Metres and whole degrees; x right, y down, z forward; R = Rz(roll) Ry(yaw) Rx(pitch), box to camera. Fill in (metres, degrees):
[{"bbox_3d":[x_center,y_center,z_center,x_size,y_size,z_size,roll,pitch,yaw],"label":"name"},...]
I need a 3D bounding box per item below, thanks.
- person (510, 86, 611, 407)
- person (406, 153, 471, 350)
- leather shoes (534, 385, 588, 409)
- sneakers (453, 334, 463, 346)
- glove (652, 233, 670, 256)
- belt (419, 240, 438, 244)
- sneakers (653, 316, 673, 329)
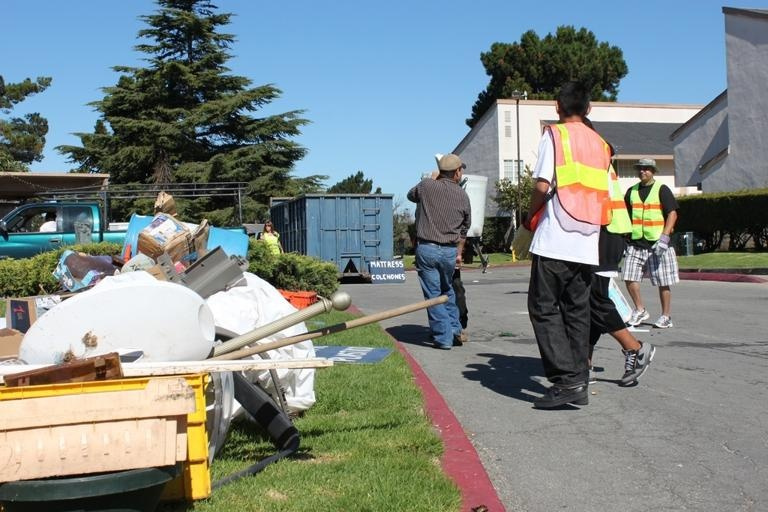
[{"bbox_3d":[1.633,0.080,6.108,0.698,2.496,0.378,-1,3,10],"label":"person"},{"bbox_3d":[0.688,-0.075,8.741,0.671,2.465,0.828,0,3,23],"label":"person"},{"bbox_3d":[1.548,1.218,6.057,0.510,0.235,0.192,-1,-2,4],"label":"leather shoes"},{"bbox_3d":[0.951,1.084,8.904,0.122,0.121,0.119,0,-2,23],"label":"sneakers"},{"bbox_3d":[4.008,-0.173,9.976,0.208,0.315,0.101,38,30,4],"label":"glove"},{"bbox_3d":[0.547,-0.176,8.656,0.203,0.050,0.046,0,2,25],"label":"belt"},{"bbox_3d":[4.102,0.967,10.099,0.405,0.174,0.144,6,-9,-41],"label":"sneakers"}]
